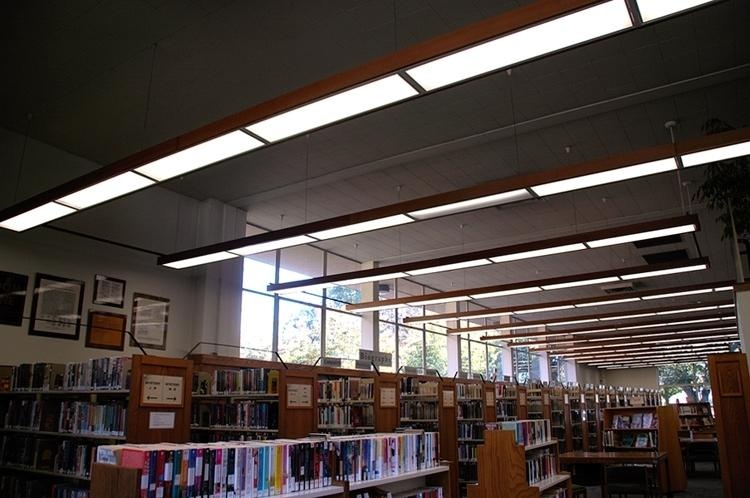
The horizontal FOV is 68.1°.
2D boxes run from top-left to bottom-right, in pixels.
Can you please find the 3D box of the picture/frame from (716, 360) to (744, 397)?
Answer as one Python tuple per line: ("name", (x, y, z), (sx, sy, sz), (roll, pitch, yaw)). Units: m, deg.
("picture/frame", (5.233, 1.911, 8.206), (0.319, 0.483, 0.074), (-9, -19, 23))
